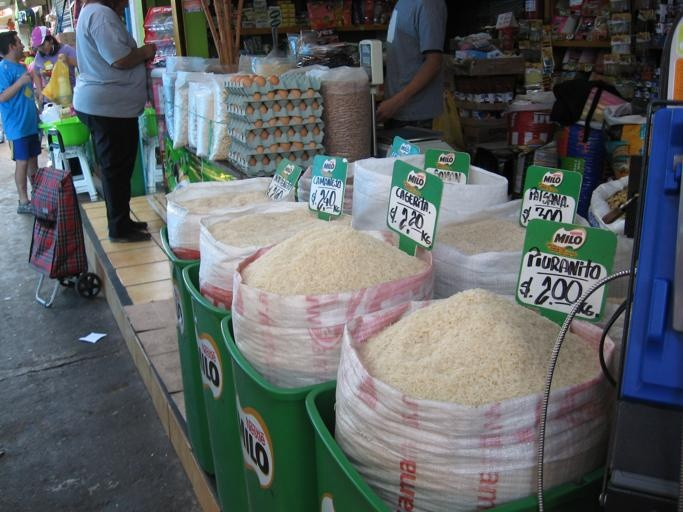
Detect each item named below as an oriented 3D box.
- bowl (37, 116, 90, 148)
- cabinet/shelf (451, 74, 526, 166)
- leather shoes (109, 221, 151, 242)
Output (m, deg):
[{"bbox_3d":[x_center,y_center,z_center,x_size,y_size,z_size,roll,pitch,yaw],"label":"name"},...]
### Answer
[{"bbox_3d":[-2.816,-1.278,5.233,0.518,0.320,0.488,-5,11,1],"label":"bowl"},{"bbox_3d":[1.312,-1.310,4.724,0.642,0.682,1.717,5,20,17],"label":"cabinet/shelf"},{"bbox_3d":[-1.754,-0.177,4.216,0.204,0.077,0.214,-6,14,-16],"label":"leather shoes"}]
